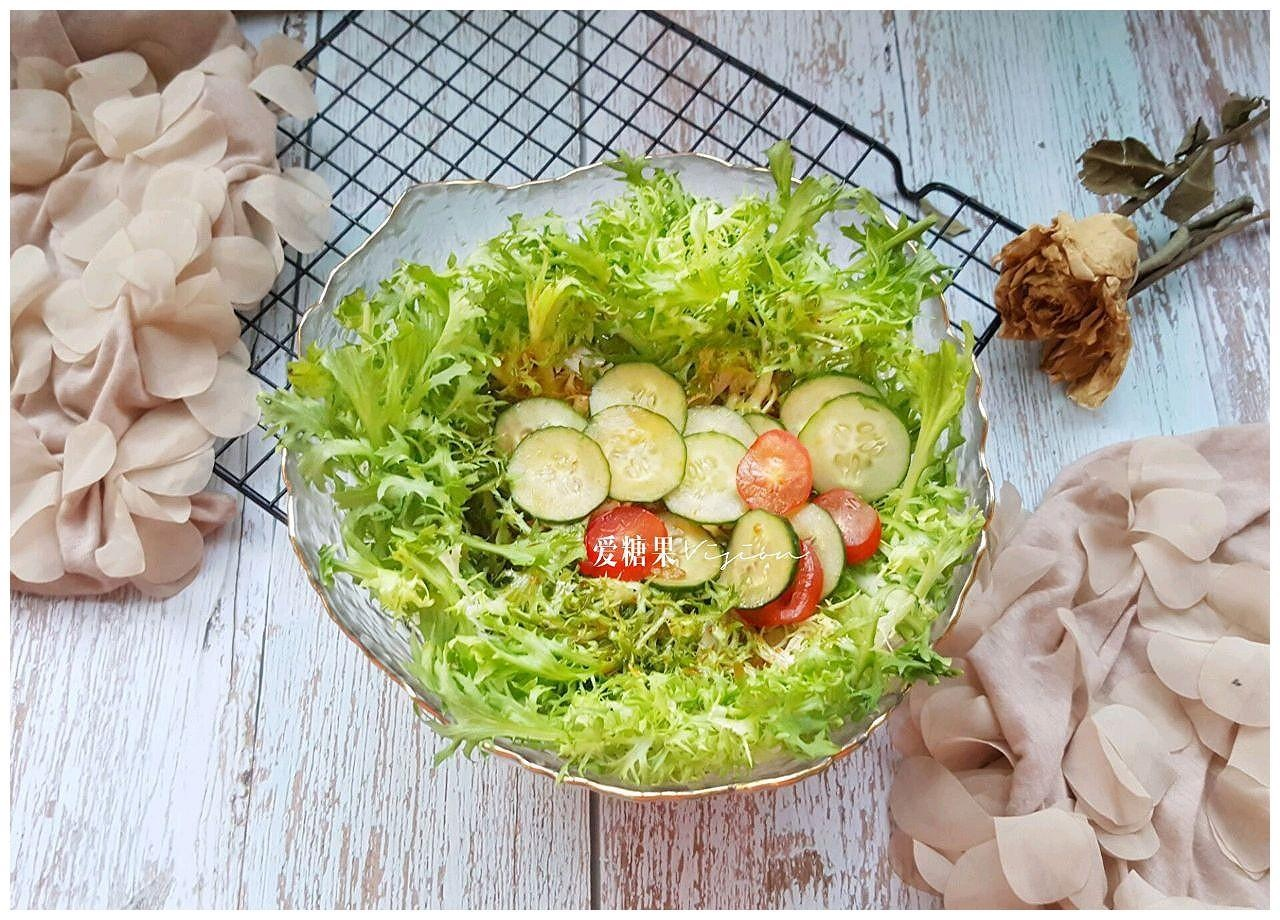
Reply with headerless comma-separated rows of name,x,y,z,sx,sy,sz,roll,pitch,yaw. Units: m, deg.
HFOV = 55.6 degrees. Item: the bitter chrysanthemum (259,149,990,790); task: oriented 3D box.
bitter chrysanthemum,-0.019,0.027,1.730,0.899,0.349,0.961,14,57,8
